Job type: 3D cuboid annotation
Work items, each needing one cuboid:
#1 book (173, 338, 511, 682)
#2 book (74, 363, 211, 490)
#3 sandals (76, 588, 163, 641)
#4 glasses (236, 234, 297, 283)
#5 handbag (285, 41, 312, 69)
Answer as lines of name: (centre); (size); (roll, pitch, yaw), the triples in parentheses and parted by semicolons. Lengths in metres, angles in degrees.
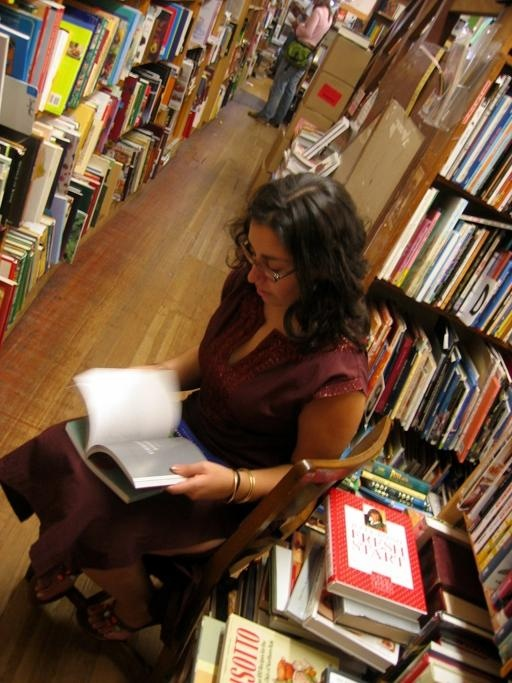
book: (0.240, 0.369, 1.225); (0.614, 0.875, 0.514); (21, 16, -7)
book: (-0.226, 0.161, 0.889); (0.178, 0.095, 0.269); (-8, 63, -48)
sandals: (-0.326, 0.613, 1.151); (0.228, 0.114, 0.062); (3, 21, 34)
glasses: (0.036, -0.160, 1.009); (0.116, 0.035, 0.119); (47, 35, 20)
handbag: (0.540, -3.564, 6.239); (0.272, 0.351, 0.141); (36, 49, 21)
